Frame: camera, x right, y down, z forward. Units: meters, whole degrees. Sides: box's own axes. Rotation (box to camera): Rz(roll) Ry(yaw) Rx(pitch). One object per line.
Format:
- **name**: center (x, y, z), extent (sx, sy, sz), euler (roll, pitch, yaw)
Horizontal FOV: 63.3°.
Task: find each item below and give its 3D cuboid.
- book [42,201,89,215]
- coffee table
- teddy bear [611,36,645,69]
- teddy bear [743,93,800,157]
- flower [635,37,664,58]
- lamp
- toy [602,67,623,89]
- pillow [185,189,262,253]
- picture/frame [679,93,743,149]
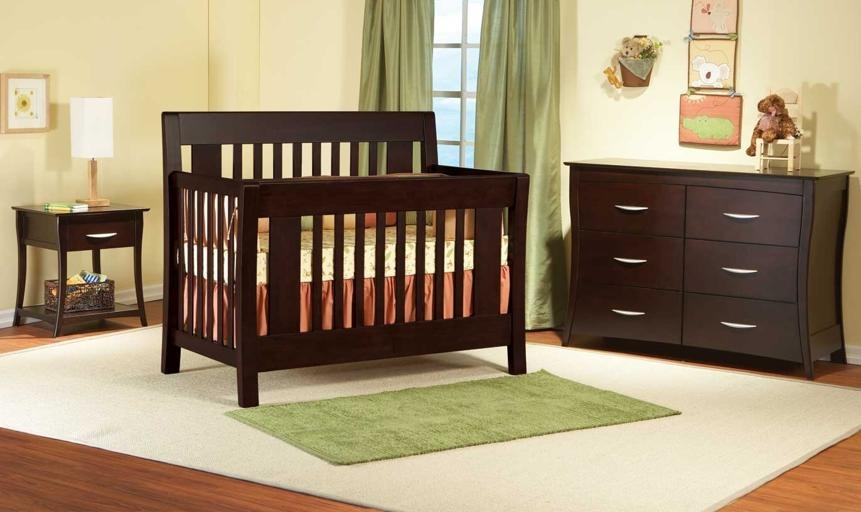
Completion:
- **book**: center (-2.432, -0.328, 4.625), extent (0.344, 0.053, 0.226), euler (5, 13, 20)
- **coffee table**: center (-2.425, 0.046, 4.840), extent (0.779, 0.707, 0.725), euler (-4, 10, -40)
- **teddy bear**: center (1.332, -1.362, 4.662), extent (0.191, 0.171, 0.052), euler (8, -1, 36)
- **teddy bear**: center (2.125, -0.825, 4.313), extent (0.352, 0.266, 0.397), euler (-1, -4, 16)
- **flower**: center (1.452, -1.388, 4.624), extent (0.173, 0.144, 0.078), euler (7, 15, 25)
- **lamp**: center (-2.301, -0.722, 4.781), extent (0.273, 0.711, 0.318), euler (-5, 15, -25)
- **toy**: center (1.245, -1.207, 4.746), extent (0.054, 0.112, 0.145), euler (-20, 57, -9)
- **pillow**: center (-1.164, -0.190, 3.730), extent (0.142, 0.317, 0.615), euler (-10, 17, -40)
- **picture/frame**: center (1.836, -0.882, 4.516), extent (0.392, 0.307, 0.041), euler (5, 9, 26)
